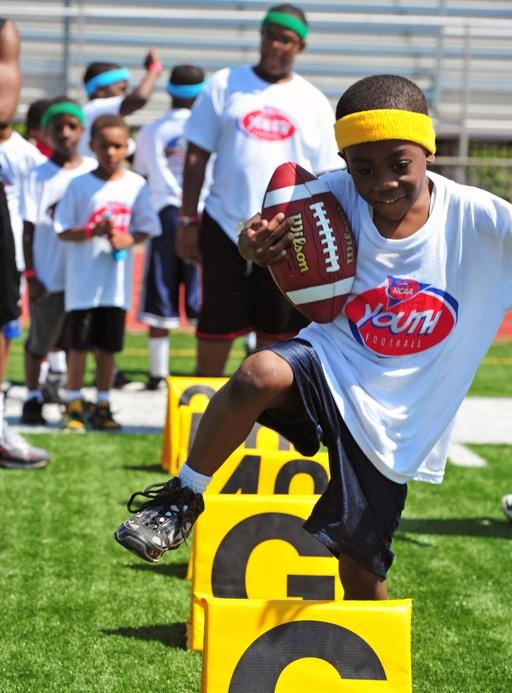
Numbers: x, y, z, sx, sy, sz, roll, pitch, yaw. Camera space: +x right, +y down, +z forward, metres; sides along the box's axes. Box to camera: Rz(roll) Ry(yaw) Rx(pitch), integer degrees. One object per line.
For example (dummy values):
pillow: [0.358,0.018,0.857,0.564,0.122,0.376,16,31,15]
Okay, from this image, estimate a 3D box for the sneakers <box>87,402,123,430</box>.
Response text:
sneakers: [-0.733,0.342,4.240,0.186,0.156,0.099,0,5,-9]

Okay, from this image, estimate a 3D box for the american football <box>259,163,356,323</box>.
american football: [0.127,-0.219,1.960,0.221,0.311,0.202,-13,-3,-2]

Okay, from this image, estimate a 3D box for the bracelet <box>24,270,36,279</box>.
bracelet: [-1.034,-0.330,4.037,0.043,0.011,0.042,-11,19,-36]

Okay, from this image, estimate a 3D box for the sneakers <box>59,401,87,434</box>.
sneakers: [-0.856,0.333,4.147,0.080,0.088,0.228,5,11,-8]

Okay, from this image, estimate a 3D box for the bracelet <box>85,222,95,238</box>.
bracelet: [-0.766,-0.535,4.056,0.049,0.060,0.022,17,-3,19]

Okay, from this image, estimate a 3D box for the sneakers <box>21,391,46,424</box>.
sneakers: [-1.078,0.303,4.293,0.128,0.144,0.051,2,1,-23]
